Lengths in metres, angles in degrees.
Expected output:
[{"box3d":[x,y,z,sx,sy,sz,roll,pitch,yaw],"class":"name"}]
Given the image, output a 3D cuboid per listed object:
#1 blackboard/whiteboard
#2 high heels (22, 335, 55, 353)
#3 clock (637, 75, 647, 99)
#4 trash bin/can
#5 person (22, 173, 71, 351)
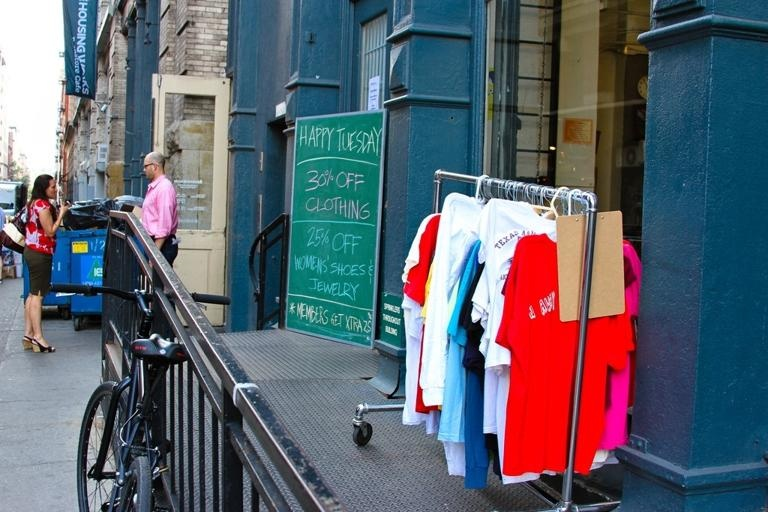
[{"box3d":[-0.457,-0.275,7.566,0.178,2.183,1.350,-5,9,-43],"class":"blackboard/whiteboard"},{"box3d":[-4.420,1.139,10.280,0.504,0.218,0.187,2,-1,-37],"class":"high heels"},{"box3d":[1.741,-1.117,5.258,0.012,0.156,0.093,-1,7,-17],"class":"clock"},{"box3d":[-3.662,0.113,9.420,1.519,1.333,0.837,-13,31,-18],"class":"trash bin/can"},{"box3d":[-4.349,0.079,10.220,0.592,2.262,0.600,1,2,-31],"class":"person"}]
